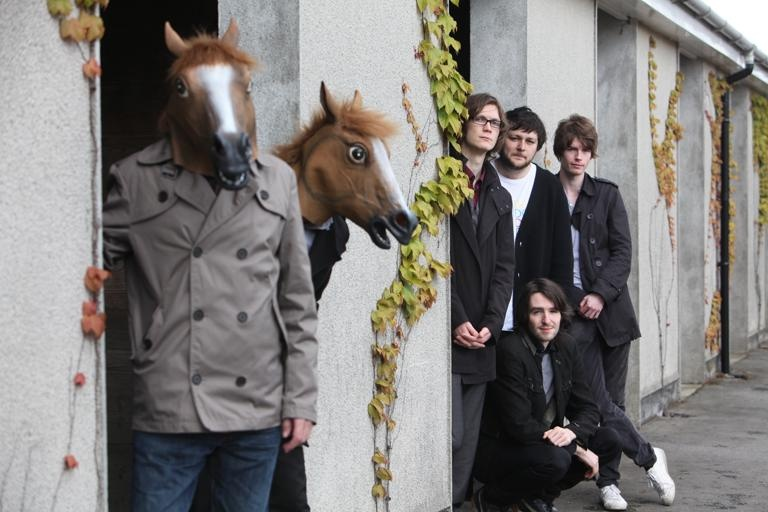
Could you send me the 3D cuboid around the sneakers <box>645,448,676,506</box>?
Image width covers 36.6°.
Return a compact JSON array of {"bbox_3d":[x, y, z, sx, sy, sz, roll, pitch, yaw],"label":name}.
[{"bbox_3d":[1.953,1.588,8.310,0.150,0.463,0.156,11,-49,-19],"label":"sneakers"}]
